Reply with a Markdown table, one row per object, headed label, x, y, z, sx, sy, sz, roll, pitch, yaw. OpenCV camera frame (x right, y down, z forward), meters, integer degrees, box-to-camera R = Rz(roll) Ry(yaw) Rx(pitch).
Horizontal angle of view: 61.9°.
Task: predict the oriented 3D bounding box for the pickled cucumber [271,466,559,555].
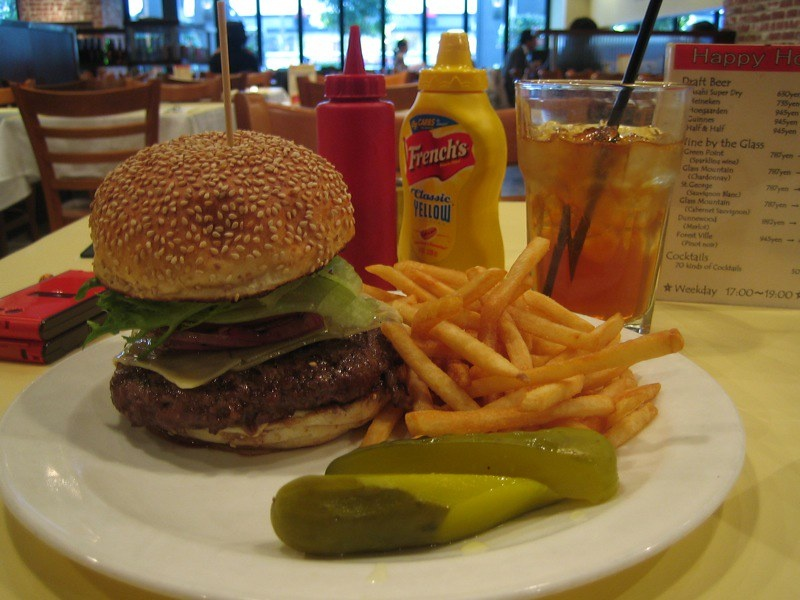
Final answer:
| label | x | y | z | sx | sy | sz | roll | pitch | yaw |
| --- | --- | --- | --- | --- | --- | --- | --- | --- | --- |
| pickled cucumber | 0.005 | 0.373 | 1.268 | 0.567 | 0.130 | 0.162 | 1 | 16 | -4 |

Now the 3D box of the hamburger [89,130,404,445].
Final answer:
| label | x | y | z | sx | sy | sz | roll | pitch | yaw |
| --- | --- | --- | --- | --- | --- | --- | --- | --- | --- |
| hamburger | -0.377 | -0.097 | 1.775 | 0.829 | 0.632 | 0.749 | 5 | 18 | 19 |

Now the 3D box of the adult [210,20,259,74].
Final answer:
| label | x | y | z | sx | sy | sz | roll | pitch | yaw |
| --- | --- | --- | --- | --- | --- | --- | --- | --- | --- |
| adult | -2.553 | -4.082 | 10.765 | 0.395 | 0.787 | 1.529 | -4 | 21 | -13 |

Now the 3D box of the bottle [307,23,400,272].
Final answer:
| label | x | y | z | sx | sy | sz | roll | pitch | yaw |
| --- | --- | --- | --- | --- | --- | --- | --- | --- | --- |
| bottle | -0.130 | -0.435 | 2.132 | 0.238 | 0.788 | 0.220 | 0 | 28 | 0 |
